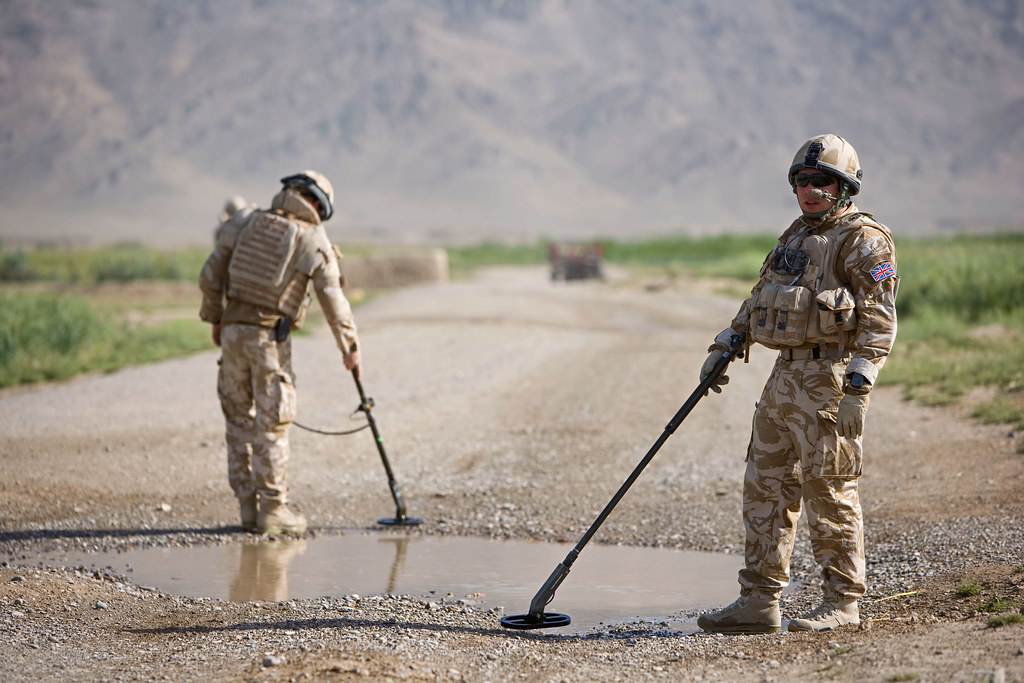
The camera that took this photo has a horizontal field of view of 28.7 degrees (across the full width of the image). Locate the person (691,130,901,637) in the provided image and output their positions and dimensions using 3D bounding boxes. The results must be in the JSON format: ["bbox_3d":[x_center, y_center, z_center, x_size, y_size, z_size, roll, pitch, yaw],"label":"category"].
[{"bbox_3d":[2.455,0.349,16.198,1.210,3.954,0.842,2,9,11],"label":"person"}]

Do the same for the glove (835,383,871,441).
[{"bbox_3d":[2.746,0.542,16.114,0.303,0.351,0.153,-2,-4,9],"label":"glove"}]

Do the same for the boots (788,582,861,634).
[{"bbox_3d":[2.439,2.154,16.129,0.715,0.299,0.241,1,-4,-12],"label":"boots"}]

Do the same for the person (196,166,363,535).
[{"bbox_3d":[-2.138,0.088,18.057,1.395,3.195,0.831,1,9,0],"label":"person"}]

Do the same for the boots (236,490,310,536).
[{"bbox_3d":[-2.144,1.535,18.217,0.573,0.542,0.295,-1,3,-11],"label":"boots"}]
